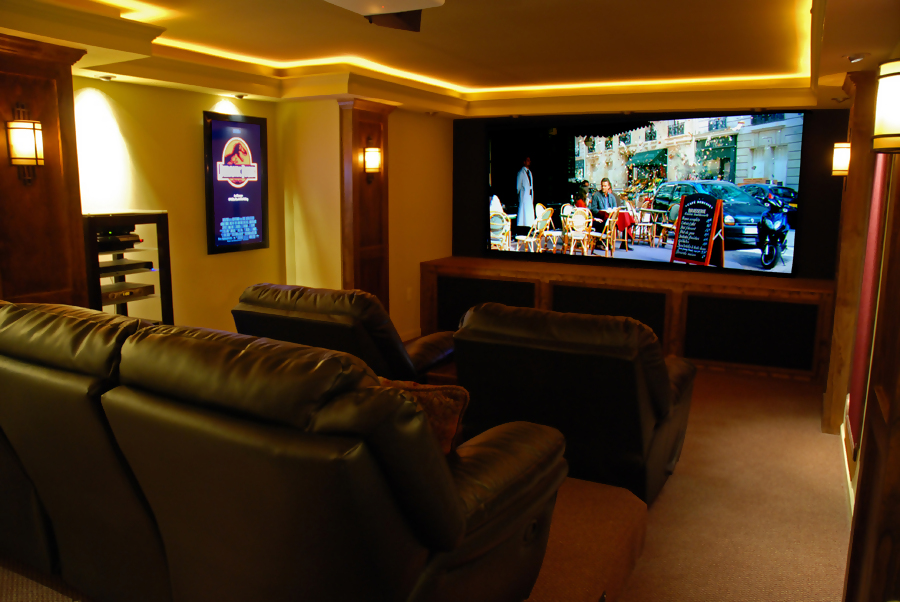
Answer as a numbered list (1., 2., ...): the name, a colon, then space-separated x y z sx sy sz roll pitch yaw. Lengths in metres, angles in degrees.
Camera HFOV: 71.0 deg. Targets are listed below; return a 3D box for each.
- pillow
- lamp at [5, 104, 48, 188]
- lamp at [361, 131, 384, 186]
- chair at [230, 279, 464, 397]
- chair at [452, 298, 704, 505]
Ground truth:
1. pillow: -0.095 0.454 2.420 0.325 0.149 0.340 21 18 41
2. lamp: -2.693 -1.014 4.017 0.088 0.502 0.220 7 13 40
3. lamp: -0.779 -1.470 6.391 0.072 0.499 0.251 6 12 34
4. chair: -0.724 0.318 4.235 1.385 0.976 0.869 4 11 36
5. chair: 0.816 0.600 3.842 1.227 1.185 1.170 5 13 28
